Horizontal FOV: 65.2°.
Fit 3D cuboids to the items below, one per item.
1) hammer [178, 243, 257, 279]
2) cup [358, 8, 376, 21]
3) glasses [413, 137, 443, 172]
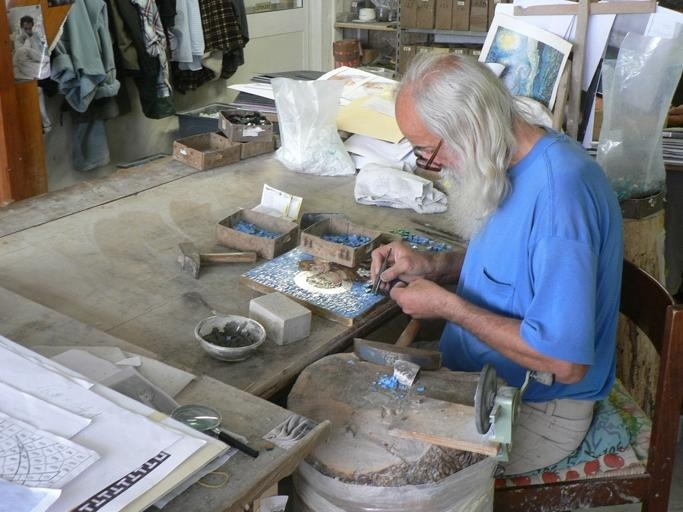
[{"bbox_3d":[-0.438,0.015,1.845,0.264,0.057,0.165,0,17,-11],"label":"hammer"},{"bbox_3d":[0.267,-2.575,5.721,0.166,0.108,0.155,-1,34,1],"label":"cup"},{"bbox_3d":[0.236,-0.276,1.495,0.062,0.023,0.078,32,7,-47],"label":"glasses"}]
